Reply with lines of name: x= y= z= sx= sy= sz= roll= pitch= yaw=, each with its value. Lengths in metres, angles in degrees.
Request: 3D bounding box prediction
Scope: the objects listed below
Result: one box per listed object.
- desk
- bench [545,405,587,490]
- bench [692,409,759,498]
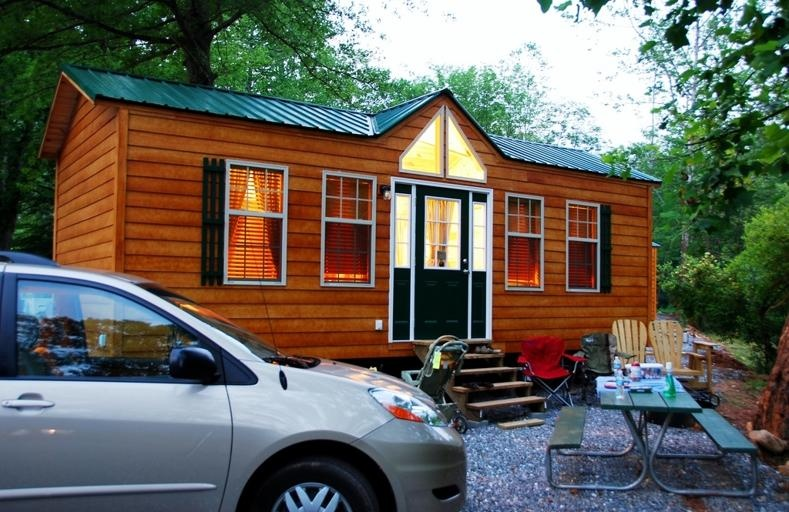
desk: x=3.115 y=2.197 z=7.505 sx=1.151 sy=1.188 sz=0.858 roll=-3 pitch=-6 yaw=17
bench: x=2.132 y=2.377 z=7.680 sx=0.459 sy=0.749 sz=1.449 roll=-3 pitch=-6 yaw=18
bench: x=4.003 y=2.388 z=7.401 sx=0.596 sy=0.795 sz=1.386 roll=-4 pitch=-6 yaw=25
